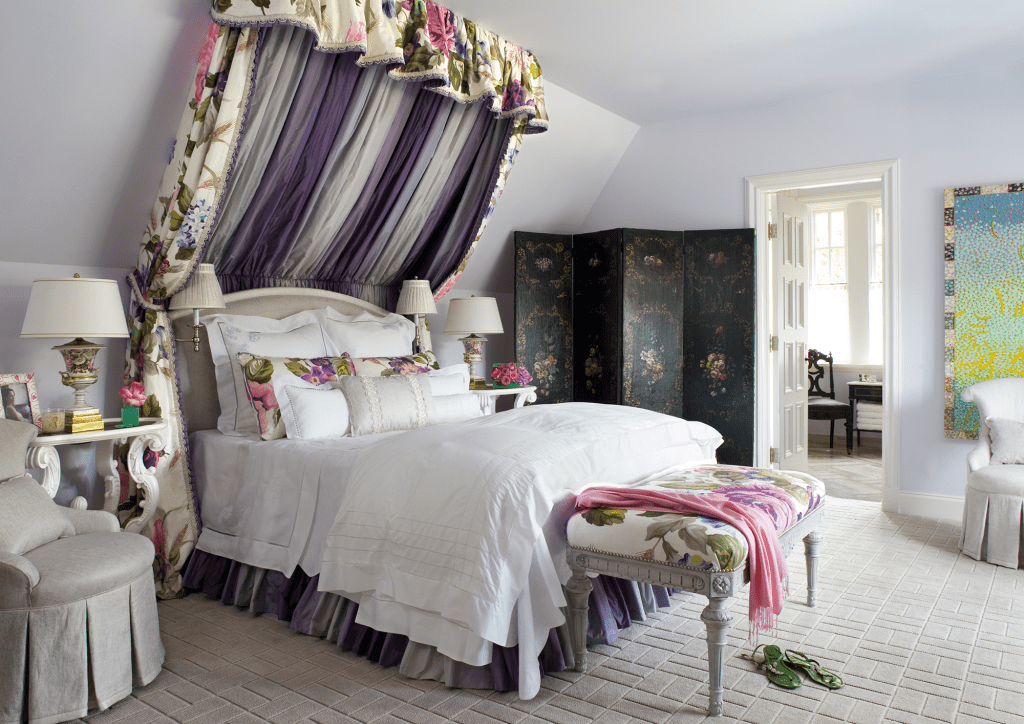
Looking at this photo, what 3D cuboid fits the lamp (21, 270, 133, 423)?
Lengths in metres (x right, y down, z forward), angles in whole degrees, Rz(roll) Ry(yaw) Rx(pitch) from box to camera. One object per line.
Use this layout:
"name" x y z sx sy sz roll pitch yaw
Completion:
"lamp" -2.149 -0.060 3.366 0.498 0.721 0.377 6 14 33

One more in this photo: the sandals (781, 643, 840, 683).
"sandals" 1.214 1.245 2.821 0.089 0.050 0.185 -7 5 -27

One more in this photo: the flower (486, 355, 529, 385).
"flower" -0.024 0.066 5.252 0.234 0.163 0.239 -1 -1 6

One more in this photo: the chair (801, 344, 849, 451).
"chair" 3.206 0.340 7.030 0.423 0.937 1.085 3 12 23

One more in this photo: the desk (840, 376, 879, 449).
"desk" 3.397 0.506 6.715 0.286 0.694 0.348 4 13 25

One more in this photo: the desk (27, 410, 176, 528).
"desk" -1.982 0.468 3.390 0.523 0.601 0.768 3 2 32

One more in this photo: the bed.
"bed" -0.555 0.586 3.809 2.304 1.488 1.756 -3 -3 31

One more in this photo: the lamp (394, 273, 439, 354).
"lamp" -0.692 -0.331 4.968 0.273 0.544 0.258 1 4 5

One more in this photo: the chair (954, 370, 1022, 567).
"chair" 2.019 0.439 2.908 0.257 0.891 0.534 6 14 33

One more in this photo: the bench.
"bench" 0.926 0.927 3.233 0.754 0.703 1.334 0 4 39

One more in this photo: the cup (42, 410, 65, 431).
"cup" -2.190 0.283 3.297 0.102 0.083 0.094 -1 -3 0

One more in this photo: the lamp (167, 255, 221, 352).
"lamp" -1.763 -0.293 3.865 0.244 0.410 0.254 -1 -2 -2

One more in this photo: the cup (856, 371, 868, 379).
"cup" 3.505 0.129 6.923 0.080 0.081 0.085 -1 2 0
